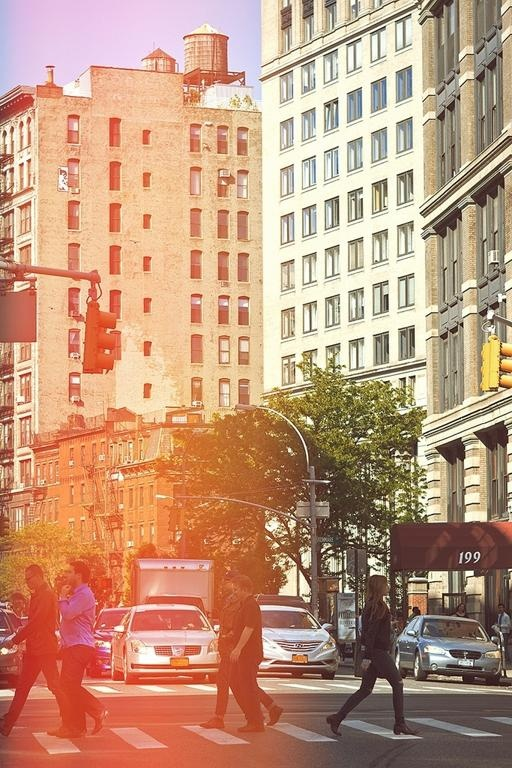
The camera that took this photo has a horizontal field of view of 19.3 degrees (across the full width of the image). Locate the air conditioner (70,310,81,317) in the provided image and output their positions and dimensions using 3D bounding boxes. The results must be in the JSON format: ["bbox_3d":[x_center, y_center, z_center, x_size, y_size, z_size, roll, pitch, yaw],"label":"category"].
[{"bbox_3d":[-14.479,-5.567,120.262,0.492,0.641,0.357,3,4,1],"label":"air conditioner"}]

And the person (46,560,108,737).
[{"bbox_3d":[-1.562,2.393,13.553,0.438,1.562,1.405,1,-9,-7],"label":"person"}]

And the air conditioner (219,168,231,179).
[{"bbox_3d":[-2.737,-17.860,127.844,0.609,0.798,1.171,-4,-11,28],"label":"air conditioner"}]

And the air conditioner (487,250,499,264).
[{"bbox_3d":[6.655,-3.585,42.477,0.248,0.403,0.518,2,-5,1],"label":"air conditioner"}]

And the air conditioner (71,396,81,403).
[{"bbox_3d":[-14.152,1.301,118.635,0.627,0.531,0.441,0,4,-8],"label":"air conditioner"}]

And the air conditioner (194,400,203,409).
[{"bbox_3d":[-4.725,1.744,122.267,0.870,0.707,0.486,3,-14,-20],"label":"air conditioner"}]

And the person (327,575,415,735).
[{"bbox_3d":[1.097,2.559,14.248,0.771,1.474,1.529,0,-10,4],"label":"person"}]

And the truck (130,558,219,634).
[{"bbox_3d":[-2.017,5.766,38.071,2.156,2.415,1.380,2,-3,-10],"label":"truck"}]

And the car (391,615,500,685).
[{"bbox_3d":[3.449,4.972,28.512,1.204,1.131,3.141,2,-14,-5],"label":"car"}]

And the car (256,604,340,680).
[{"bbox_3d":[0.665,4.808,28.362,1.009,0.920,2.442,1,-11,-7],"label":"car"}]

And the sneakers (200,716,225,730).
[{"bbox_3d":[-0.422,3.319,14.739,0.242,0.205,0.107,5,-12,1],"label":"sneakers"}]

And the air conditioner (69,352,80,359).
[{"bbox_3d":[-14.376,-2.252,119.549,0.849,0.738,0.861,2,-10,-12],"label":"air conditioner"}]
